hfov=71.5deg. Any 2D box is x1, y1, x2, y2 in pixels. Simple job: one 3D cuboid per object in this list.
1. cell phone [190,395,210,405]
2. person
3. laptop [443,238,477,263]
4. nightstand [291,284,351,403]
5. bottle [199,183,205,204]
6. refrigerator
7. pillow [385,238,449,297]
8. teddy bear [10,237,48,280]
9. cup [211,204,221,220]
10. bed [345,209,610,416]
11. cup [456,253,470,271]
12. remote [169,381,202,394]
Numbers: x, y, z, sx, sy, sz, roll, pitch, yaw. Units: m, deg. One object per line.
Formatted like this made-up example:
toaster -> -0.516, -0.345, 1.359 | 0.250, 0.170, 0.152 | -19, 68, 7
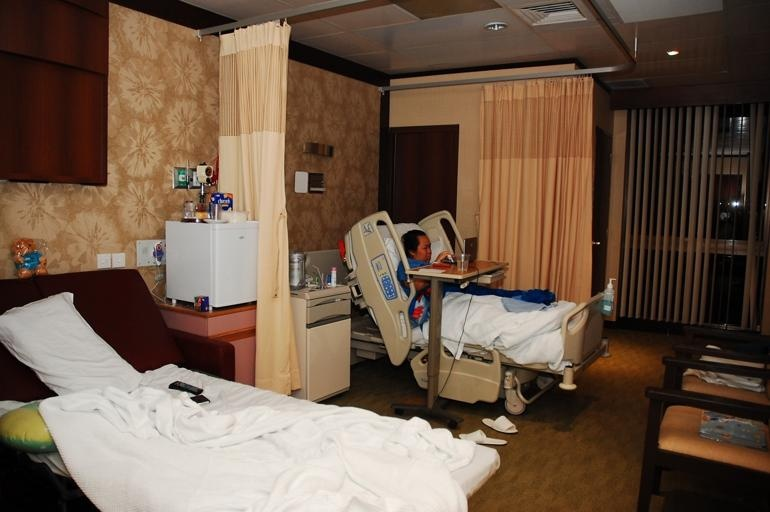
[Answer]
cell phone -> -1.326, 1.052, 3.879 | 0.124, 0.041, 0.124 | -2, 13, -21
person -> 0.955, 0.228, 5.485 | 1.525, 1.109, 0.945 | 1, 5, 27
laptop -> 0.926, -0.085, 6.180 | 0.311, 0.296, 0.454 | 3, 4, 32
nightstand -> -0.732, 0.877, 5.459 | 0.674, 1.129, 0.734 | 2, 6, 24
bottle -> -1.762, -0.612, 5.200 | 0.080, 0.198, 0.313 | -2, 13, -19
refrigerator -> -1.493, 0.065, 5.127 | 0.802, 0.860, 0.727 | 1, 2, 29
pillow -> 0.340, 0.053, 5.534 | 0.483, 0.669, 0.653 | -8, 9, -44
teddy bear -> -2.825, 0.013, 4.272 | 0.228, 0.299, 0.199 | -7, 15, -36
cup -> -1.514, -0.399, 4.837 | 0.095, 0.138, 0.070 | 0, 13, -13
bed -> 0.963, 0.444, 5.659 | 2.585, 1.899, 1.647 | 1, 7, 30
cup -> 0.758, 0.072, 5.208 | 0.153, 0.184, 0.151 | 2, -2, 0
remote -> -1.476, 0.989, 4.003 | 0.178, 0.043, 0.109 | 11, 3, 11
